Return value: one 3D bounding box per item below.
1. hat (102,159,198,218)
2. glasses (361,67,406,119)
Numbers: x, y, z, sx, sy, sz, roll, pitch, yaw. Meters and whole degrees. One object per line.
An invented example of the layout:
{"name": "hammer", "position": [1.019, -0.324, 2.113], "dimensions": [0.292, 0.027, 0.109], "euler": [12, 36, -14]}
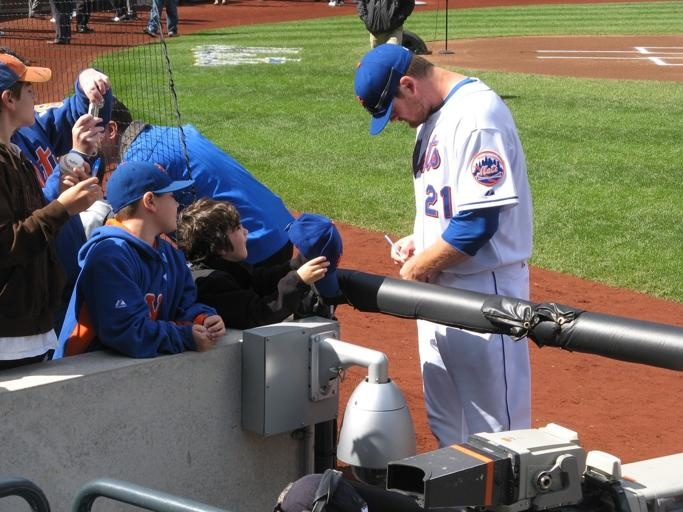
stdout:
{"name": "hat", "position": [-1.033, -0.418, 5.734], "dimensions": [0.395, 0.290, 0.477], "euler": [14, 21, 15]}
{"name": "glasses", "position": [0.250, -0.920, 5.961], "dimensions": [0.227, 0.236, 0.199], "euler": [11, 27, 10]}
